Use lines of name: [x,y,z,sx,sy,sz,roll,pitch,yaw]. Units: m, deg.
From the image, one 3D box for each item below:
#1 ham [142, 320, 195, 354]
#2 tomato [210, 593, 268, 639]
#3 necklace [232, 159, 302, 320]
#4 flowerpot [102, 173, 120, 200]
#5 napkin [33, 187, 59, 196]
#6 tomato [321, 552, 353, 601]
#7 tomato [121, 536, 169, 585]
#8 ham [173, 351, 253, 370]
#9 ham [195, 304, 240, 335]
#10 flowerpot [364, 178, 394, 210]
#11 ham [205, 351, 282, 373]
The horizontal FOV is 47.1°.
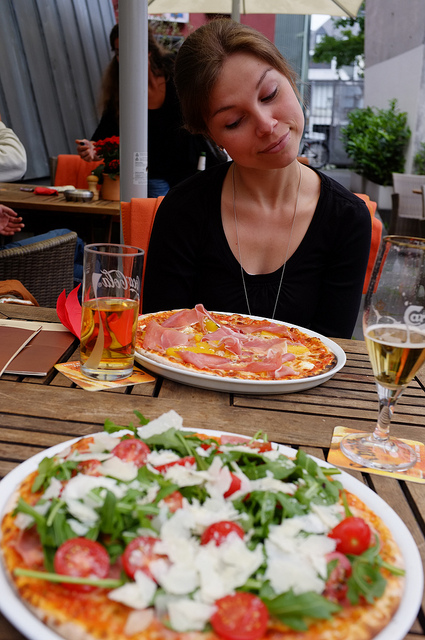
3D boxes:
ham: [-0.093,0.023,0.930,0.072,0.049,0.105,12,17,41]
tomato: [0.016,0.177,0.291,0.034,0.016,0.020,4,6,-9]
necklace: [0.170,-0.291,1.691,0.245,0.537,0.236,5,6,2]
flowerpot: [-0.800,-1.041,3.837,0.211,0.216,0.209,2,12,2]
napkin: [-1.365,-1.056,4.006,0.199,0.076,0.142,2,7,-22]
tomato: [0.088,0.179,0.334,0.014,0.027,0.027,-5,-35,41]
tomato: [-0.041,0.157,0.319,0.033,0.020,0.025,10,8,42]
ham: [0.002,0.066,0.861,0.070,0.016,0.047,2,12,-34]
ham: [0.009,-0.011,1.066,0.087,0.065,0.080,11,13,44]
flowerpot: [3.463,-2.639,10.230,0.435,0.714,0.857,4,6,-7]
ham: [0.065,0.062,0.847,0.077,0.025,0.055,-1,2,1]
